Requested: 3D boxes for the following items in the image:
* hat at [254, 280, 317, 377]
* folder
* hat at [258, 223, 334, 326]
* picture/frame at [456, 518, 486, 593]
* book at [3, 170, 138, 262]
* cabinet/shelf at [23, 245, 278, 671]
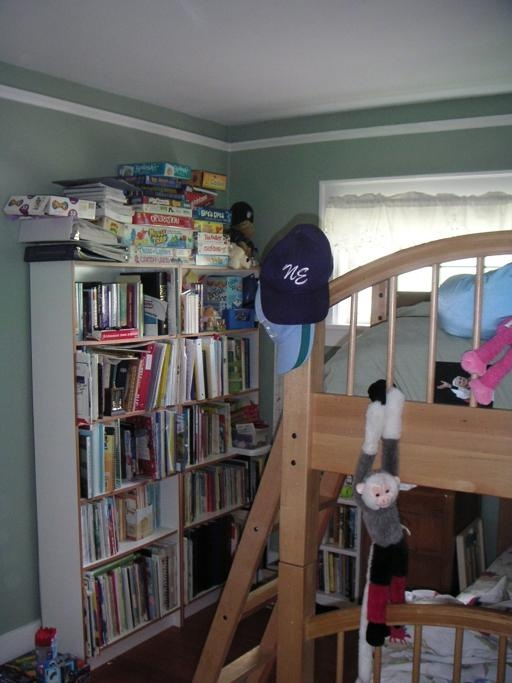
[{"bbox_3d":[0.113,-0.035,1.567,0.154,0.240,0.063,2,8,22],"label":"hat"},{"bbox_3d":[-0.798,-0.435,2.493,0.244,0.129,0.304,2,2,-3],"label":"folder"},{"bbox_3d":[0.108,-0.156,1.497,0.195,0.262,0.087,1,-6,6],"label":"hat"},{"bbox_3d":[1.073,1.078,2.837,0.019,0.422,0.380,6,12,36],"label":"picture/frame"},{"bbox_3d":[-0.809,-0.520,2.442,0.345,0.154,0.453,3,6,20],"label":"book"},{"bbox_3d":[-0.540,0.556,2.983,0.428,2.012,1.290,1,2,37],"label":"cabinet/shelf"}]
